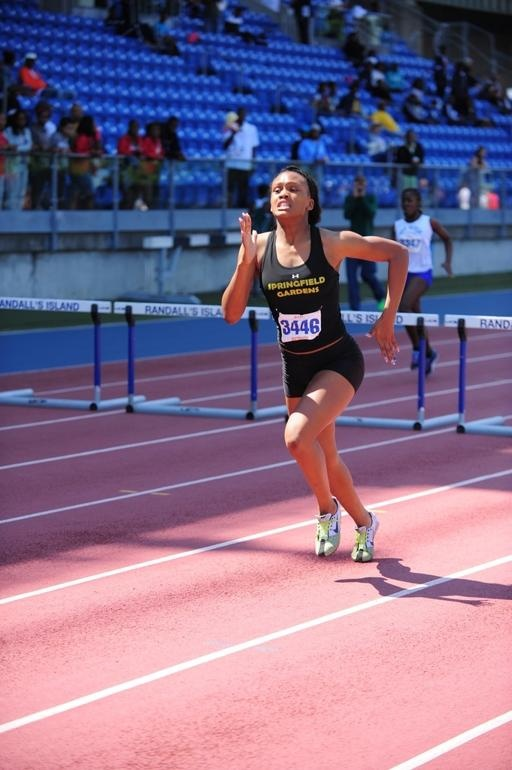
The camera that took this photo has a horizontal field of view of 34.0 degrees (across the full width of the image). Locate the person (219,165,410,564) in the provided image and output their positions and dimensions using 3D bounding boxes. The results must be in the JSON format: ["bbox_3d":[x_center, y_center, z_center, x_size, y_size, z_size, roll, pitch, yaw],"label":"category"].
[{"bbox_3d":[0.269,-0.033,3.559,0.732,1.787,0.744,1,5,29],"label":"person"}]

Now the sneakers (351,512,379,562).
[{"bbox_3d":[0.521,0.728,3.928,0.096,0.262,0.120,2,-6,27],"label":"sneakers"}]

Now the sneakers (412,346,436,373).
[{"bbox_3d":[1.981,-0.277,9.905,0.202,0.225,0.523,-1,1,15],"label":"sneakers"}]

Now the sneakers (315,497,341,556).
[{"bbox_3d":[0.338,0.660,3.827,0.102,0.281,0.131,-2,-23,28],"label":"sneakers"}]
